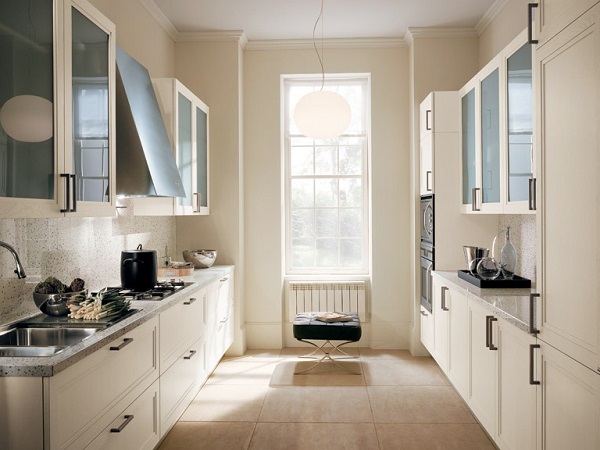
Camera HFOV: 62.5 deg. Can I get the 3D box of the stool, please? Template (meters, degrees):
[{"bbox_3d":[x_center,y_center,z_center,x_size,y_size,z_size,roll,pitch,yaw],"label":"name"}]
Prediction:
[{"bbox_3d":[0.242,1.027,4.523,0.536,0.405,0.567,1,-3,1],"label":"stool"}]

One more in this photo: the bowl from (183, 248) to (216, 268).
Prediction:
[{"bbox_3d":[-0.950,0.328,4.703,0.306,0.179,0.177,-4,9,-22],"label":"bowl"}]

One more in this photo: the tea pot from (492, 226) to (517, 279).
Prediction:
[{"bbox_3d":[1.671,0.223,3.983,0.162,0.435,0.633,3,9,25],"label":"tea pot"}]

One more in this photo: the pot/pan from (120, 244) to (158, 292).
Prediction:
[{"bbox_3d":[-1.162,0.281,3.689,0.257,0.394,0.438,0,-1,-4],"label":"pot/pan"}]

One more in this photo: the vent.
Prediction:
[{"bbox_3d":[-1.082,-0.714,3.566,0.343,1.042,0.547,0,8,3],"label":"vent"}]

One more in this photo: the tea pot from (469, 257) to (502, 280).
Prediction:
[{"bbox_3d":[1.447,0.338,3.854,0.187,0.149,0.134,0,1,18],"label":"tea pot"}]

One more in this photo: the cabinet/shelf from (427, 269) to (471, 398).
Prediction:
[{"bbox_3d":[1.216,0.885,4.002,0.326,0.718,0.977,0,1,5],"label":"cabinet/shelf"}]
